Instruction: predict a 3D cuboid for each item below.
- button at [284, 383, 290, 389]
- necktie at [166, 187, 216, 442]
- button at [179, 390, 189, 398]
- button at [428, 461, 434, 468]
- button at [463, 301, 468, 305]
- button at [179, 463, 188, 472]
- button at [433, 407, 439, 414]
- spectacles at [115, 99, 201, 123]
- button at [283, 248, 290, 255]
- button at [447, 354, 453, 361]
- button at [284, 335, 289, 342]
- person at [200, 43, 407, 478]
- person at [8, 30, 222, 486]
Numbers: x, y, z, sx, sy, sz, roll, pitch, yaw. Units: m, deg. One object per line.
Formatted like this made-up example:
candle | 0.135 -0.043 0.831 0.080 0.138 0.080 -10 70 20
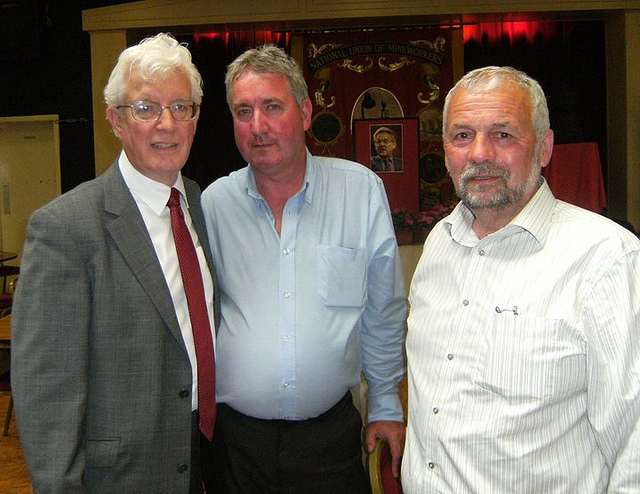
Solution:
button | -0.127 0.530 2.217 0.018 0.018 0.017 -1 -12 -10
necktie | -0.468 0.267 2.070 0.064 1.012 0.134 -13 -16 27
button | -0.453 0.489 1.932 0.031 0.027 0.006 -4 5 -26
button | 0.370 0.723 1.923 0.017 0.022 0.004 2 6 36
button | 0.484 0.185 1.927 0.012 0.013 0.003 1 -8 12
button | -0.457 0.734 1.929 0.026 0.028 0.006 -5 12 -33
button | 0.381 0.538 1.909 0.019 0.021 0.005 -21 -22 41
spectacles | -0.570 -0.481 2.039 0.281 0.091 0.091 -4 5 -20
button | -0.134 0.017 2.311 0.020 0.023 0.005 -4 -7 -1
button | 0.430 0.364 1.914 0.016 0.018 0.004 -7 -10 22
button | -0.129 0.352 2.237 0.017 0.021 0.004 -2 5 -4
person | -0.086 0.063 2.349 0.838 1.754 0.486 -1 5 8
person | -0.688 0.075 1.952 0.638 1.631 0.414 -3 5 -16
